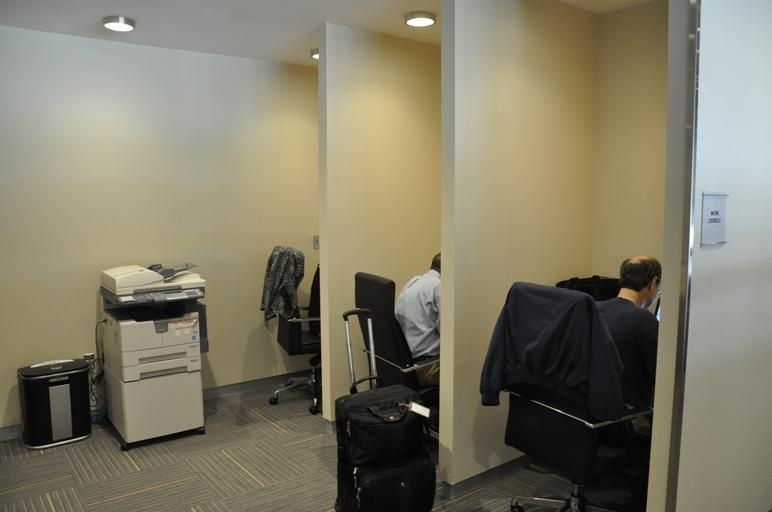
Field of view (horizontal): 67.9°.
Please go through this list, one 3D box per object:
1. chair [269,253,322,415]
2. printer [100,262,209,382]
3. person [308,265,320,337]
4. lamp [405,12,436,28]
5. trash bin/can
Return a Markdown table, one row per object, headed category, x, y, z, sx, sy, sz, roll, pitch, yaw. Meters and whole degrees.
| category | x | y | z | sx | sy | sz | roll | pitch | yaw |
| --- | --- | --- | --- | --- | --- | --- | --- | --- | --- |
| chair | -0.927 | 0.736 | 5.772 | 0.531 | 1.503 | 0.949 | -3 | 13 | -10 |
| printer | -2.148 | 0.599 | 5.213 | 0.770 | 0.996 | 0.677 | -3 | 6 | -43 |
| person | -0.708 | 0.468 | 5.661 | 0.112 | 0.723 | 0.345 | -3 | 13 | -9 |
| lamp | 0.299 | -2.003 | 4.856 | 0.259 | 0.086 | 0.162 | -1 | 13 | 2 |
| trash bin/can | -2.900 | 1.251 | 5.114 | 0.600 | 0.781 | 0.435 | -1 | 23 | -24 |
